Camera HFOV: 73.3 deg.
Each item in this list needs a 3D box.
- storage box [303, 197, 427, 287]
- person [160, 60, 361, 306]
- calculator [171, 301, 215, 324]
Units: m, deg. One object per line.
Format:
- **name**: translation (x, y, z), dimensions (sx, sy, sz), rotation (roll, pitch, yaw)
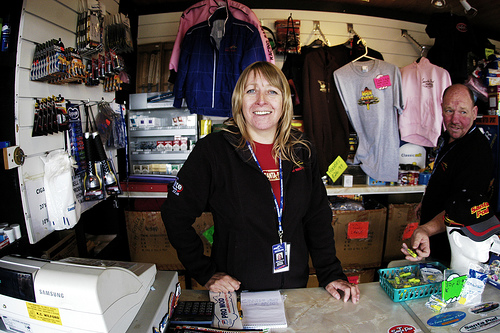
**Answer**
- **storage box**: translation (1.400, 0.789, 4.530), dimensions (1.540, 0.962, 0.999), rotation (3, 8, -3)
- **person**: translation (0.015, 0.083, 2.501), dimensions (1.278, 1.691, 0.509), rotation (-3, 6, 1)
- **calculator**: translation (-0.367, 0.933, 2.181), dimensions (0.268, 0.048, 0.225), rotation (1, 7, -1)
